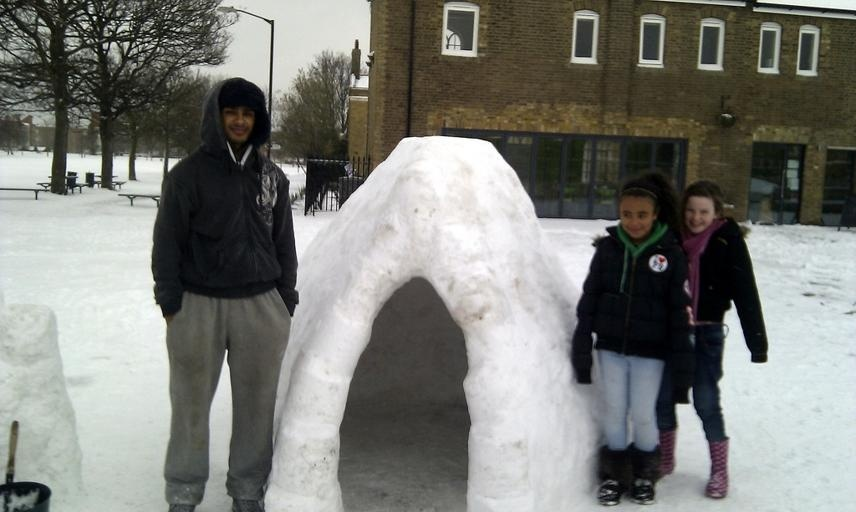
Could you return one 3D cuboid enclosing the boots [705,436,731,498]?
[{"bbox_3d":[3.444,2.555,10.013,0.265,0.701,0.729,-3,-9,23],"label":"boots"}]

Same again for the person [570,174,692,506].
[{"bbox_3d":[2.391,0.945,9.871,1.288,3.832,0.616,1,4,10],"label":"person"}]
